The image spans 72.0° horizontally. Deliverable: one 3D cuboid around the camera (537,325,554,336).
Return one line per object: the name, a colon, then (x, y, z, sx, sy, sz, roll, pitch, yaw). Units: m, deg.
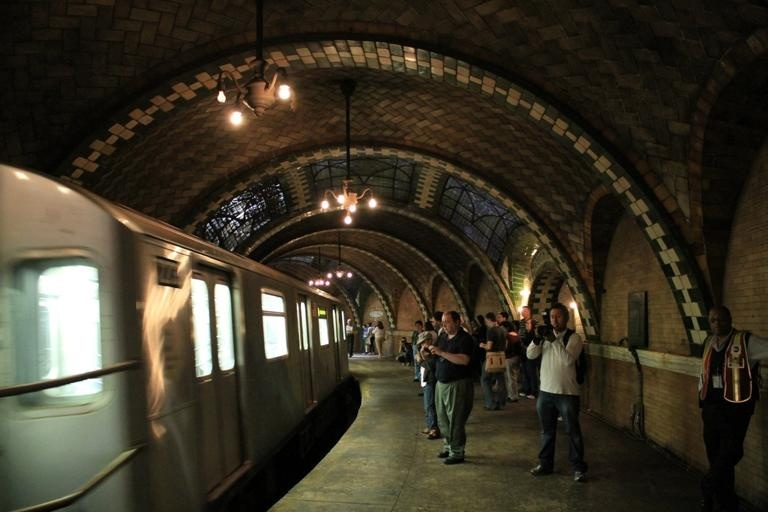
camera: (1.986, 0.919, 6.472, 0.136, 0.111, 0.183, -2, -2, 13)

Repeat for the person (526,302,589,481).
person: (2.150, 1.646, 6.557, 0.699, 2.120, 0.693, -2, -8, 14)

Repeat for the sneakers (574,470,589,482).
sneakers: (2.357, 2.629, 6.313, 0.075, 0.099, 0.223, -8, -32, 17)

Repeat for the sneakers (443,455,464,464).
sneakers: (0.938, 2.714, 7.060, 0.305, 0.124, 0.099, 11, -15, -29)

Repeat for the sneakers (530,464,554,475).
sneakers: (1.987, 2.679, 6.661, 0.313, 0.137, 0.115, 3, -7, -17)
